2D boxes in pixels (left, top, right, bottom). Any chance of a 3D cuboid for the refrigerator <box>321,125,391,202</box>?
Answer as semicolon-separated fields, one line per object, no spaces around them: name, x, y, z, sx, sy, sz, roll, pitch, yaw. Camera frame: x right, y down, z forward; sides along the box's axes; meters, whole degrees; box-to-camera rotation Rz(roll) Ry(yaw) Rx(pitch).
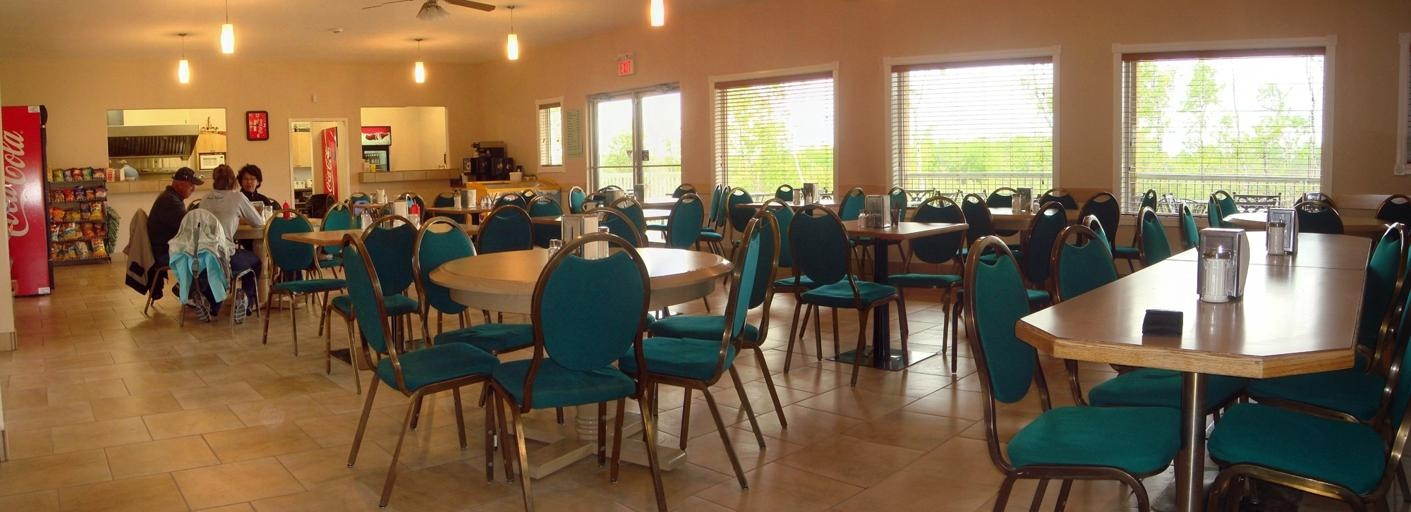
refrigerator;-8.930;-2.388;20.863;1.499;1.857;1.828;-4;10;-39

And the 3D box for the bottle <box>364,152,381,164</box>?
bottle;-8.499;-2.532;20.881;0.377;0.336;0.427;1;4;11

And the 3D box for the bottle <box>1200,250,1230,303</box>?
bottle;5.850;0.230;9.343;0.371;0.604;0.149;-1;11;0

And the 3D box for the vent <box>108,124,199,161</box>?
vent;-12.993;-2.742;19.145;1.852;0.783;0.422;-5;11;-23

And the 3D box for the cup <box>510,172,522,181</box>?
cup;-4.361;-1.852;18.498;0.268;0.136;0.225;0;-1;-11

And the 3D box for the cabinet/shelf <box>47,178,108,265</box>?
cabinet/shelf;-13.018;-0.819;16.870;1.023;1.955;0.457;-3;12;-11
